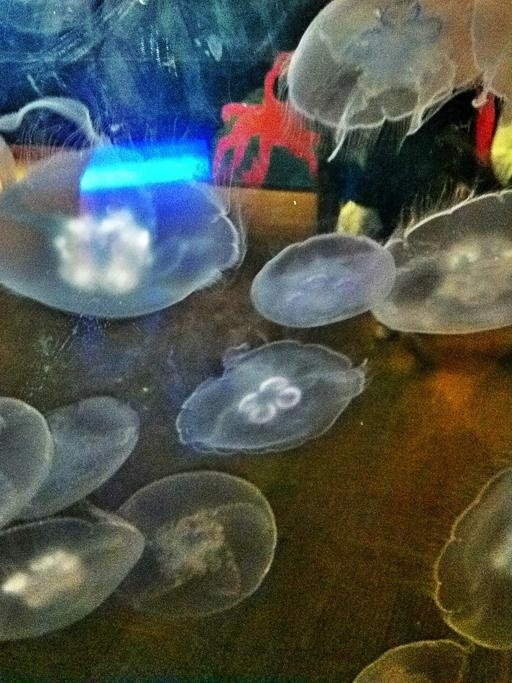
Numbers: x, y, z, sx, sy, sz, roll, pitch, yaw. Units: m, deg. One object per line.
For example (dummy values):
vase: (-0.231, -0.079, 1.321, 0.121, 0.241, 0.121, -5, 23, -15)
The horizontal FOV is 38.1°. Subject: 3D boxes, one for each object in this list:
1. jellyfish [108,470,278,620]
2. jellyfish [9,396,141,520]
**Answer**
jellyfish: (-0.276, 0.962, 3.963, 0.858, 0.695, 0.798, -11, 27, -10)
jellyfish: (-0.912, 0.550, 3.628, 0.704, 0.438, 0.204, -36, 12, -8)
